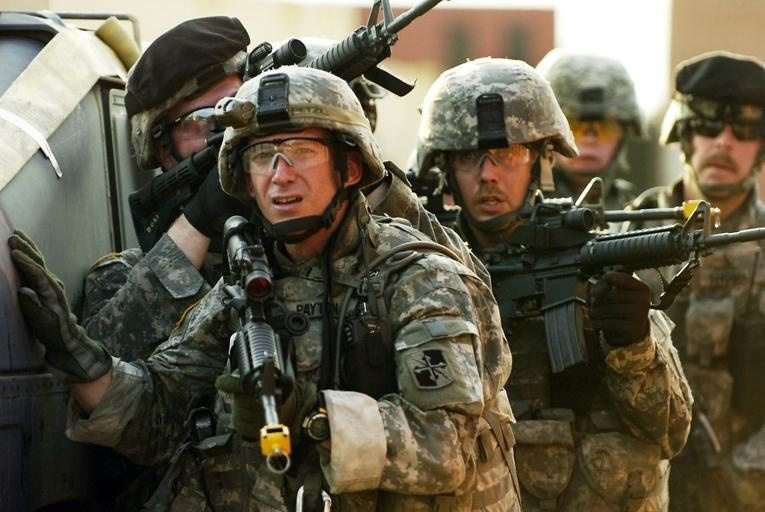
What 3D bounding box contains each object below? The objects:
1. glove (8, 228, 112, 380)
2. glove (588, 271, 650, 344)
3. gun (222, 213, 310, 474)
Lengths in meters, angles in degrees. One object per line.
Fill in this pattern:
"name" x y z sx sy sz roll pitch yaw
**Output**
"glove" -1.804 0.337 5.112 0.350 0.997 0.298 -6 25 35
"glove" 1.577 0.332 6.070 0.345 0.520 0.181 1 -1 5
"gun" -0.636 0.368 4.769 0.330 1.512 0.643 3 -46 -12
